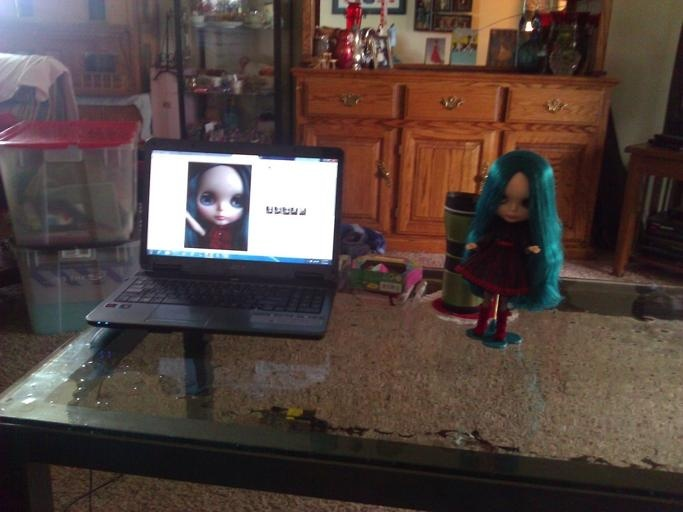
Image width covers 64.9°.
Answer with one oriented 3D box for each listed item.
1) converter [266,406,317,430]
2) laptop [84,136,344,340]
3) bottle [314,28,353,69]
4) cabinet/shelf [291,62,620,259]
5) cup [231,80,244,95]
[{"bbox_3d":[-0.083,0.288,0.924,0.080,0.010,0.029,2,48,-2],"label":"converter"},{"bbox_3d":[-0.227,0.015,1.209,0.597,0.371,0.418,3,24,3],"label":"laptop"},{"bbox_3d":[-0.024,-1.094,2.845,0.238,0.223,0.090,10,12,43],"label":"bottle"},{"bbox_3d":[0.470,-0.472,2.326,1.116,0.600,0.298,2,19,3],"label":"cabinet/shelf"},{"bbox_3d":[-0.650,-1.058,3.344,0.066,0.050,0.087,10,45,3],"label":"cup"}]
